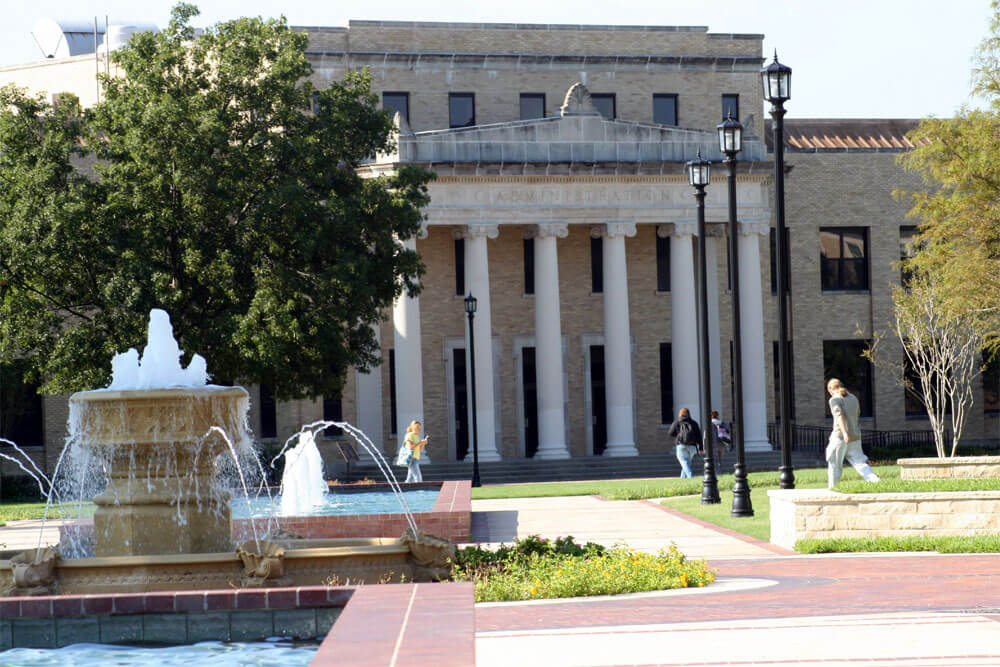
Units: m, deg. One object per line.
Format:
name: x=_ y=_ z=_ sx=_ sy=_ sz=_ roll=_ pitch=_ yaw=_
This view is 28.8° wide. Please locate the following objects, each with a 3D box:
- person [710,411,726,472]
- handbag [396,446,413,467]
person: x=7.734 y=3.665 z=69.527 sx=0.771 sy=2.072 sz=0.656 roll=6 pitch=28 yaw=17
handbag: x=-3.014 y=3.739 z=60.157 sx=0.343 sy=0.514 sz=0.916 roll=-2 pitch=-4 yaw=-15
